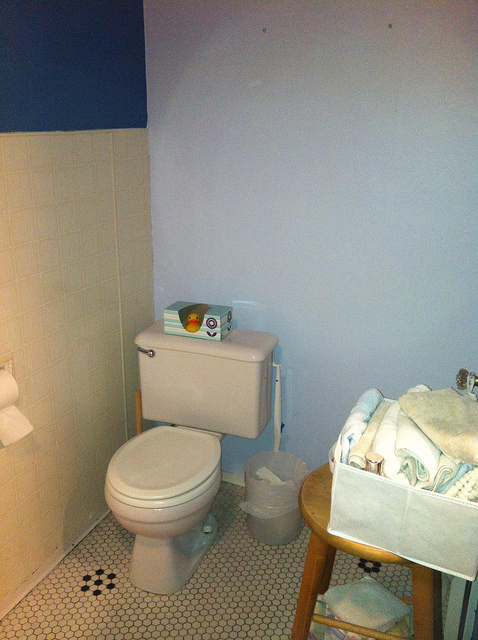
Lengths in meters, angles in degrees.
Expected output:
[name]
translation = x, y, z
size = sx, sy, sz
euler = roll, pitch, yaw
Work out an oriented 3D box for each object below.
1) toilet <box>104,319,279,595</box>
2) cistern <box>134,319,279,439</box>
[toilet]
translation = -0.192, 0.468, 1.815
size = 0.471, 0.737, 0.686
euler = 9, 18, 17
[cistern]
translation = -0.115, 0.216, 1.980
size = 0.484, 0.342, 0.284
euler = 6, 17, 14
